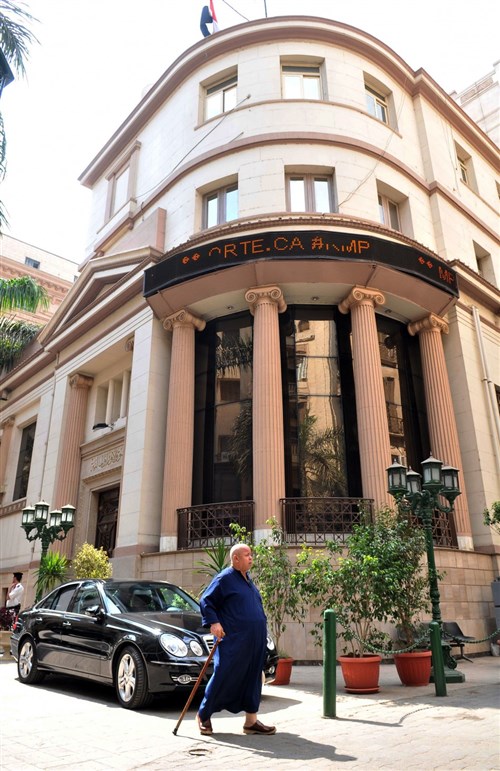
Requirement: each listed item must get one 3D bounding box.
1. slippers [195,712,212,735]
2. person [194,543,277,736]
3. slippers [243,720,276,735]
[{"bbox_3d":[-0.376,2.762,3.940,0.076,0.092,0.233,5,-26,-12],"label":"slippers"},{"bbox_3d":[-0.170,2.048,3.954,0.502,1.453,0.799,-18,-29,41],"label":"person"},{"bbox_3d":[0.067,2.770,3.920,0.286,0.127,0.102,-2,-15,4],"label":"slippers"}]
